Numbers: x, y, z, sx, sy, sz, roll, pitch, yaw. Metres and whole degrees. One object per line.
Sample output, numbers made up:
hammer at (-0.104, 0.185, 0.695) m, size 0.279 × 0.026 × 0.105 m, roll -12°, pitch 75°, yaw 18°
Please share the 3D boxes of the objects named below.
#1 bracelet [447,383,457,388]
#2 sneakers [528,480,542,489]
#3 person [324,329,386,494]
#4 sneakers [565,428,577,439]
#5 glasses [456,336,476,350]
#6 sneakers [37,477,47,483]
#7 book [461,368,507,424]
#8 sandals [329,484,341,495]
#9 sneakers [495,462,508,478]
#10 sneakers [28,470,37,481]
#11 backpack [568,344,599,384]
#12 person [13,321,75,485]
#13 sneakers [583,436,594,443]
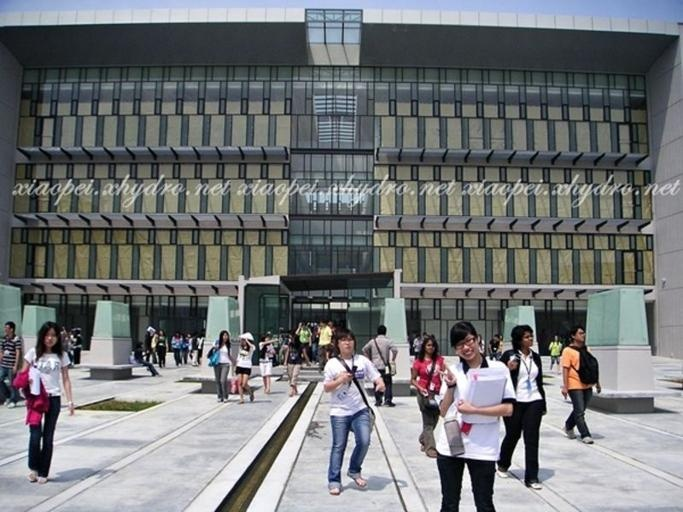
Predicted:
bracelet at (1.374, 1.625, 8.573) m, size 0.068 × 0.053 × 0.070 m, roll 1°, pitch -3°, yaw 2°
sneakers at (3.124, 3.725, 11.096) m, size 0.090 × 0.094 × 0.228 m, roll -5°, pitch -20°, yaw -3°
person at (0.169, 2.505, 11.325) m, size 0.942 × 2.585 × 1.095 m, roll -1°, pitch -7°, yaw 2°
sneakers at (4.873, 3.797, 14.562) m, size 0.138 × 0.144 × 0.330 m, roll 0°, pitch -16°, yaw 6°
glasses at (1.548, 1.088, 8.552) m, size 0.284 × 0.167 × 0.119 m, roll -2°, pitch -7°, yaw 8°
sneakers at (-4.829, 3.601, 10.981) m, size 0.139 × 0.094 × 0.159 m, roll 2°, pitch -8°, yaw -26°
book at (1.751, 1.748, 8.543) m, size 0.534 × 0.662 × 0.270 m, roll 9°, pitch 18°, yaw 0°
sandals at (-0.118, 3.672, 10.787) m, size 0.181 × 0.166 × 0.275 m, roll -1°, pitch -7°, yaw -1°
sneakers at (2.728, 3.693, 11.732) m, size 0.197 × 0.247 × 0.572 m, roll -2°, pitch -24°, yaw 0°
sneakers at (-5.032, 3.569, 11.093) m, size 0.131 × 0.164 × 0.288 m, roll 2°, pitch -8°, yaw -27°
backpack at (5.040, 2.256, 14.105) m, size 0.535 × 0.787 × 0.258 m, roll 3°, pitch -8°, yaw -33°
person at (-4.952, 2.385, 11.299) m, size 0.863 × 2.572 × 0.666 m, roll 5°, pitch -9°, yaw -42°
sneakers at (5.046, 3.765, 14.011) m, size 0.234 × 0.154 × 0.292 m, roll -3°, pitch -7°, yaw 11°
